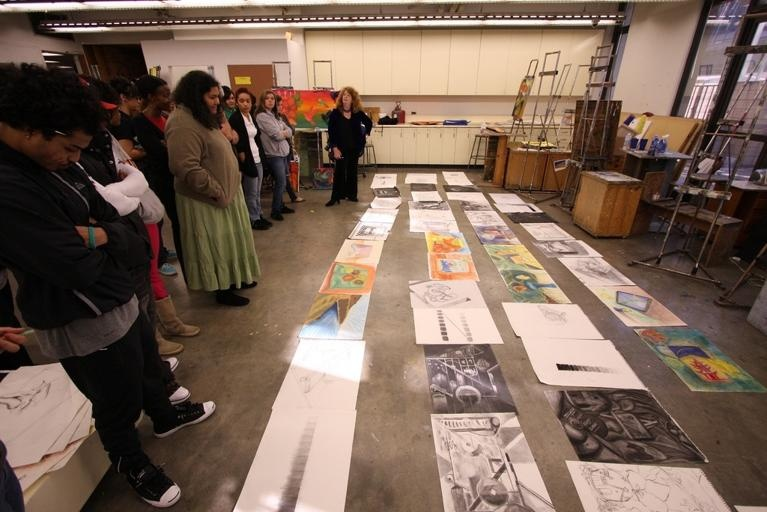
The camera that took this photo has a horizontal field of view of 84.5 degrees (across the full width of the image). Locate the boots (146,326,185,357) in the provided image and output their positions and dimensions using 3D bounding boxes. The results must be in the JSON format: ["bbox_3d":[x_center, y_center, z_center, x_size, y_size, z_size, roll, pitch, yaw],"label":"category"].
[{"bbox_3d":[-1.671,0.667,3.310,0.337,0.215,0.136,0,20,-9],"label":"boots"}]

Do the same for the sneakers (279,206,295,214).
[{"bbox_3d":[-1.375,-0.646,5.980,0.177,0.066,0.092,3,17,18],"label":"sneakers"}]

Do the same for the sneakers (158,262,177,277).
[{"bbox_3d":[-2.198,0.134,4.297,0.180,0.062,0.098,12,29,33],"label":"sneakers"}]

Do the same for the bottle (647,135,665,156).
[{"bbox_3d":[3.245,-1.301,5.003,0.165,0.207,0.299,13,25,27],"label":"bottle"}]

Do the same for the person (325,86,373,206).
[{"bbox_3d":[-0.538,-1.530,6.033,0.486,1.607,0.640,18,30,35],"label":"person"}]

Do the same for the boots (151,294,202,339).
[{"bbox_3d":[-1.689,0.497,3.454,0.354,0.296,0.156,-2,8,-6],"label":"boots"}]

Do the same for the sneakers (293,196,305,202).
[{"bbox_3d":[-1.310,-0.868,6.505,0.163,0.063,0.073,-1,20,0],"label":"sneakers"}]

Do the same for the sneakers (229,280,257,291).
[{"bbox_3d":[-1.310,0.282,3.960,0.258,0.100,0.077,-11,26,-13],"label":"sneakers"}]

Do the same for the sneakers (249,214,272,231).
[{"bbox_3d":[-1.614,-0.429,5.426,0.360,0.233,0.113,-4,31,-12],"label":"sneakers"}]

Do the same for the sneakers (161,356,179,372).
[{"bbox_3d":[-1.603,0.791,3.186,0.087,0.060,0.211,-1,9,-6],"label":"sneakers"}]

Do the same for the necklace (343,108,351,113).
[{"bbox_3d":[-0.505,-1.963,5.717,0.065,0.014,0.060,0,-4,-40],"label":"necklace"}]

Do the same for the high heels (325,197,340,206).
[{"bbox_3d":[-0.769,-0.794,6.251,0.247,0.096,0.086,-9,24,-22],"label":"high heels"}]

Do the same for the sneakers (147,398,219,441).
[{"bbox_3d":[-1.315,1.029,2.849,0.445,0.168,0.157,-17,39,-35],"label":"sneakers"}]
